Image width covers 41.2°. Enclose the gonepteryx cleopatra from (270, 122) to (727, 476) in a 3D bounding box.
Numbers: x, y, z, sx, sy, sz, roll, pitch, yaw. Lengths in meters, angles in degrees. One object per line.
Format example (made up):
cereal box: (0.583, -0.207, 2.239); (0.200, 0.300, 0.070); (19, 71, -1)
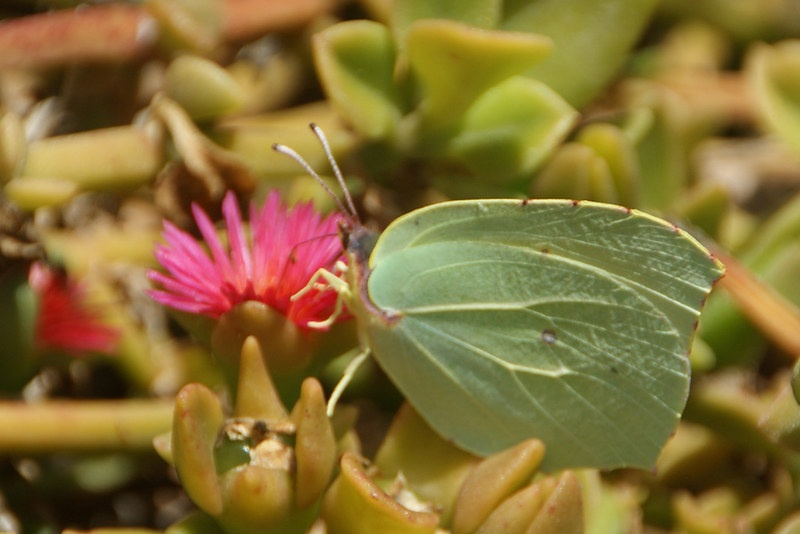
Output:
gonepteryx cleopatra: (0.170, 0.102, 1.689); (0.630, 0.408, 0.207); (2, 41, 7)
